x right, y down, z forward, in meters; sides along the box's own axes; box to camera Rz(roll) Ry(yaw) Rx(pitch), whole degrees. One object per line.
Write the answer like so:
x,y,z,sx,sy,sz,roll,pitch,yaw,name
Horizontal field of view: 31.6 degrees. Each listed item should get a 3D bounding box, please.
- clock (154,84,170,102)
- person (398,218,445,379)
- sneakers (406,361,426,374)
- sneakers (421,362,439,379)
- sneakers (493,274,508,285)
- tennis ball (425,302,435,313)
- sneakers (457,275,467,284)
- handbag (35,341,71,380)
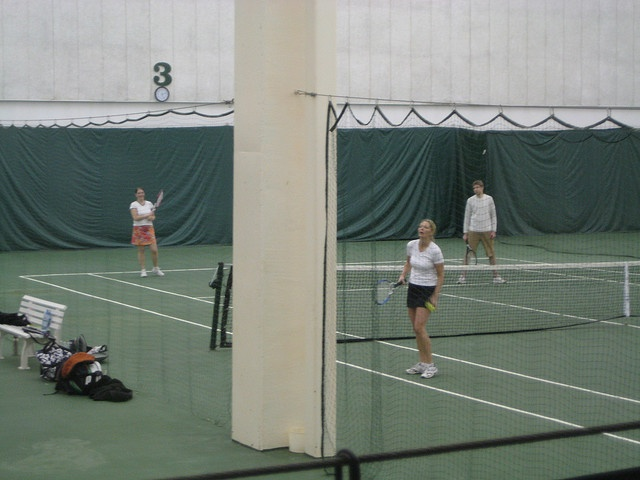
-5.012,-4.603,35.668,0.530,0.496,0.119,-2,8,-20,clock
1.848,1.068,20.366,0.674,2.777,0.578,-1,5,8,person
1.677,2.315,20.455,0.427,0.172,0.151,0,3,9,sneakers
1.940,2.349,20.323,0.141,0.159,0.392,-1,-3,32,sneakers
4.212,0.938,26.781,0.269,0.135,0.386,0,0,3,sneakers
1.955,1.194,20.165,0.190,0.212,0.148,-3,5,-21,tennis ball
3.246,0.930,26.444,0.247,0.231,0.440,-2,1,17,sneakers
-4.789,2.181,20.477,0.520,0.665,0.662,-4,6,-31,handbag
